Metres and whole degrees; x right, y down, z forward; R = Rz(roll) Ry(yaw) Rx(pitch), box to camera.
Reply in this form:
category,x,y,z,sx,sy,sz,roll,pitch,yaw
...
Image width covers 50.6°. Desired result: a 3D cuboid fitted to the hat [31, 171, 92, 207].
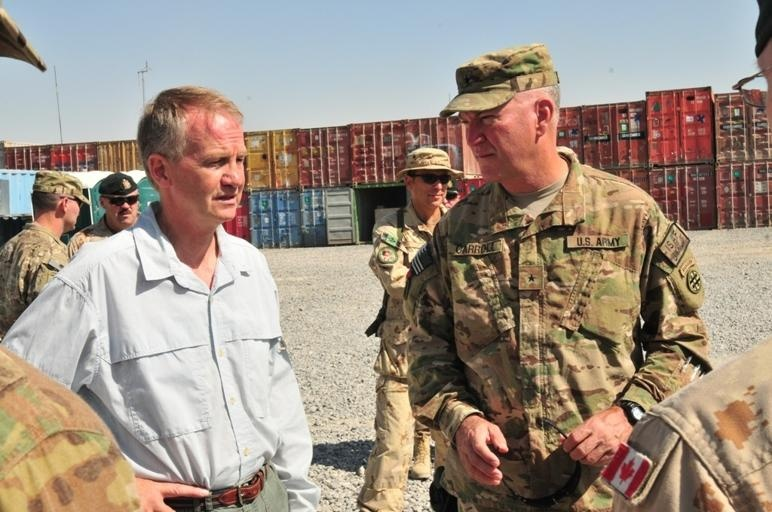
category,x,y,z,sx,sy,sz,roll,pitch,yaw
hat,-2.259,-0.475,5.782,0.224,0.145,0.298,8,7,27
